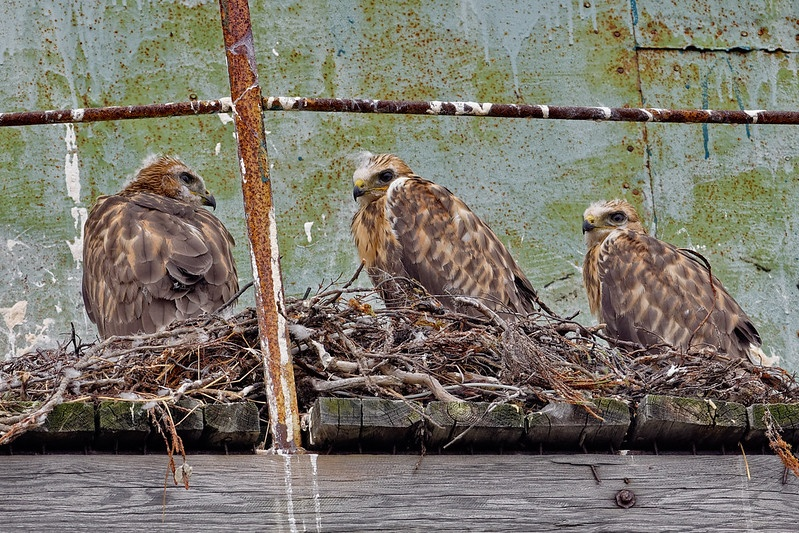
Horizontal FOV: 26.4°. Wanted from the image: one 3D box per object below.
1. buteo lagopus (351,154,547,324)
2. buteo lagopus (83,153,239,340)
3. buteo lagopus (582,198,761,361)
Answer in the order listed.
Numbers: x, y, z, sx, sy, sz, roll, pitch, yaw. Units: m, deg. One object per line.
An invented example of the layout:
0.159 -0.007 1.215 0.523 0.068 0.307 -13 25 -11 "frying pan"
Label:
0.296 -0.231 13.087 1.338 1.257 0.735 -3 6 2 "buteo lagopus"
-1.708 -0.009 12.488 0.930 1.015 1.356 -6 7 -27 "buteo lagopus"
1.973 0.132 13.268 1.493 1.242 0.834 2 8 37 "buteo lagopus"
